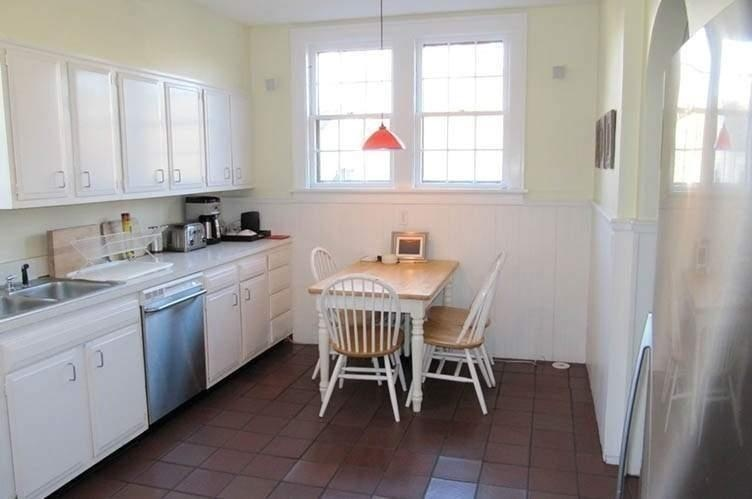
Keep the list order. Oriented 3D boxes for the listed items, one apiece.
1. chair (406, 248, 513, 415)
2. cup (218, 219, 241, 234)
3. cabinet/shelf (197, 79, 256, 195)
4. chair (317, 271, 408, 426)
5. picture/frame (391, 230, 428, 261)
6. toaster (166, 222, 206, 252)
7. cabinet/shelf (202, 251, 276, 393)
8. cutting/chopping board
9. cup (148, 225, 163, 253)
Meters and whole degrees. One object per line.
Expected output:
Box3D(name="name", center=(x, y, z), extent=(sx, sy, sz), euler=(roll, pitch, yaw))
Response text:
Box3D(name="chair", center=(0.580, 0.595, 4.631), extent=(1.120, 1.685, 1.001), euler=(2, 8, 11))
Box3D(name="cup", center=(-1.499, -0.233, 5.228), extent=(0.183, 0.184, 0.182), euler=(0, 10, 0))
Box3D(name="cabinet/shelf", center=(-1.274, -1.022, 4.866), extent=(0.954, 0.909, 0.331), euler=(10, 8, 35))
Box3D(name="chair", center=(-0.095, 0.626, 4.046), extent=(0.671, 1.107, 0.897), euler=(0, 13, 4))
Box3D(name="picture/frame", center=(0.316, -0.029, 4.815), extent=(0.292, 0.247, 0.021), euler=(1, -9, 14))
Box3D(name="toaster", center=(-1.670, -0.123, 4.469), extent=(0.226, 0.233, 0.330), euler=(2, 5, 8))
Box3D(name="cabinet/shelf", center=(-1.195, 0.618, 4.352), extent=(0.416, 0.923, 1.063), euler=(0, 6, 11))
Box3D(name="cutting/chopping board", center=(-2.114, -0.035, 3.764), extent=(0.133, 0.312, 0.684), euler=(4, 13, 18))
Box3D(name="cup", center=(-1.864, -0.082, 4.312), extent=(0.117, 0.205, 0.268), euler=(-6, 14, -22))
